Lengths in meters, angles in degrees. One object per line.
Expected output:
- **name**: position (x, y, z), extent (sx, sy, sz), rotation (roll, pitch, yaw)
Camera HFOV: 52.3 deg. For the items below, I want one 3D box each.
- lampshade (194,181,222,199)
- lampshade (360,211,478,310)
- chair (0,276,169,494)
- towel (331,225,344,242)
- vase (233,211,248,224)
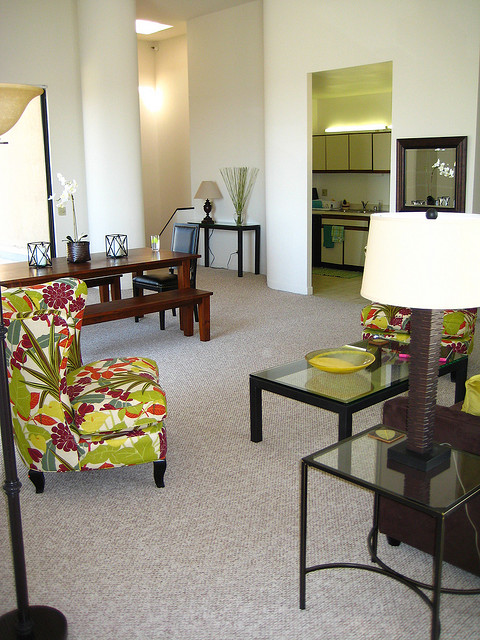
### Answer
- **lampshade**: position (-0.548, -2.107, 7.952), extent (0.290, 0.221, 0.304), rotation (-3, 24, 1)
- **lampshade**: position (0.354, -0.102, 0.978), extent (0.196, 0.143, 0.206), rotation (3, 10, 5)
- **chair**: position (-0.677, 0.256, 2.449), extent (0.828, 1.073, 0.934), rotation (-3, 13, -16)
- **towel**: position (1.570, -1.384, 7.901), extent (0.049, 0.255, 0.255), rotation (-12, 14, -40)
- **vase**: position (-0.014, -1.643, 7.823), extent (0.209, 0.249, 0.215), rotation (-12, 24, -22)
